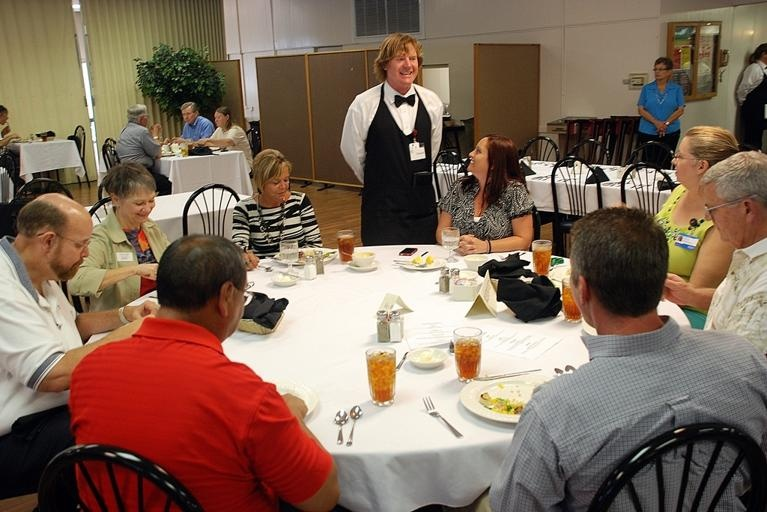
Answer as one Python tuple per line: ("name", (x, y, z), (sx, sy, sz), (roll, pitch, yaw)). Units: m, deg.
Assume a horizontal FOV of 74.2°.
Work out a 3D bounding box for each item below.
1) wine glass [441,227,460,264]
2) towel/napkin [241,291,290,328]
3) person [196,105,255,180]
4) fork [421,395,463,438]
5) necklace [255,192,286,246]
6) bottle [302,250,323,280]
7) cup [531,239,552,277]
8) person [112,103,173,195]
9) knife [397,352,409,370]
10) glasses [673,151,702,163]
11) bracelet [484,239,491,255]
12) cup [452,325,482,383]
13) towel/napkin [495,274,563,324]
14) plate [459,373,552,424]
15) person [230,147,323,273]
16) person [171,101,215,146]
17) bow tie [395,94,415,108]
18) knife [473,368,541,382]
("wine glass", (0.382, -0.065, 2.863), (0.112, 0.192, 0.118), (-4, 9, -17))
("towel/napkin", (-0.518, 0.268, 2.200), (0.200, 0.052, 0.208), (-12, 26, -24))
("person", (-2.617, -1.812, 8.378), (0.786, 1.125, 0.723), (-11, 14, -32))
("fork", (0.187, 0.519, 1.642), (0.042, 0.037, 0.250), (-11, 31, -15))
("necklace", (-0.757, -0.241, 3.338), (0.199, 0.348, 0.090), (1, 4, -16))
("bottle", (-0.395, 0.060, 2.814), (0.131, 0.147, 0.054), (-6, 17, -27))
("cup", (0.821, 0.019, 2.613), (0.106, 0.174, 0.109), (-1, 3, 0))
("person", (-3.353, -1.288, 7.222), (0.629, 1.562, 0.810), (4, 3, 40))
("knife", (0.075, 0.403, 1.947), (0.016, 0.018, 0.156), (8, 22, 11))
("glasses", (1.560, -0.489, 2.587), (0.075, 0.026, 0.077), (14, 6, -7))
("bracelet", (0.629, -0.055, 3.033), (0.023, 0.066, 0.049), (3, -13, -1))
("cup", (0.309, 0.362, 1.834), (0.109, 0.184, 0.112), (1, -6, 0))
("towel/napkin", (0.660, 0.186, 2.286), (0.322, 0.119, 0.292), (3, 17, -32))
("plate", (0.401, 0.467, 1.704), (0.210, 0.024, 0.224), (-2, 18, -2))
("person", (-0.745, -0.216, 3.363), (0.574, 0.871, 0.508), (-10, 26, -28))
("person", (-3.259, -2.211, 8.716), (0.748, 0.721, 0.745), (8, 16, 43))
("bow tie", (0.172, -1.183, 3.892), (0.190, 0.092, 0.032), (-12, 19, -25))
("knife", (0.448, 0.426, 1.819), (0.238, 0.010, 0.038), (-2, -31, -17))
